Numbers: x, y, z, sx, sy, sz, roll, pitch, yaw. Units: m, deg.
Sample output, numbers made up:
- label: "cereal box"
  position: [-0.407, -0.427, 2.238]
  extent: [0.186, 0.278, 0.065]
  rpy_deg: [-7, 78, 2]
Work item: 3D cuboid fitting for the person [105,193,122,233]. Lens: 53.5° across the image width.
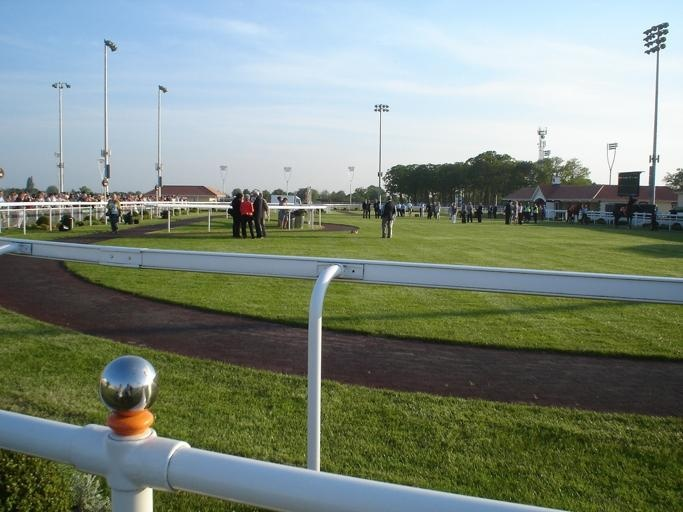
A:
- label: "person"
  position: [-8.706, -1.563, 26.055]
  extent: [0.451, 1.422, 1.495]
  rpy_deg: [-2, 9, -20]
